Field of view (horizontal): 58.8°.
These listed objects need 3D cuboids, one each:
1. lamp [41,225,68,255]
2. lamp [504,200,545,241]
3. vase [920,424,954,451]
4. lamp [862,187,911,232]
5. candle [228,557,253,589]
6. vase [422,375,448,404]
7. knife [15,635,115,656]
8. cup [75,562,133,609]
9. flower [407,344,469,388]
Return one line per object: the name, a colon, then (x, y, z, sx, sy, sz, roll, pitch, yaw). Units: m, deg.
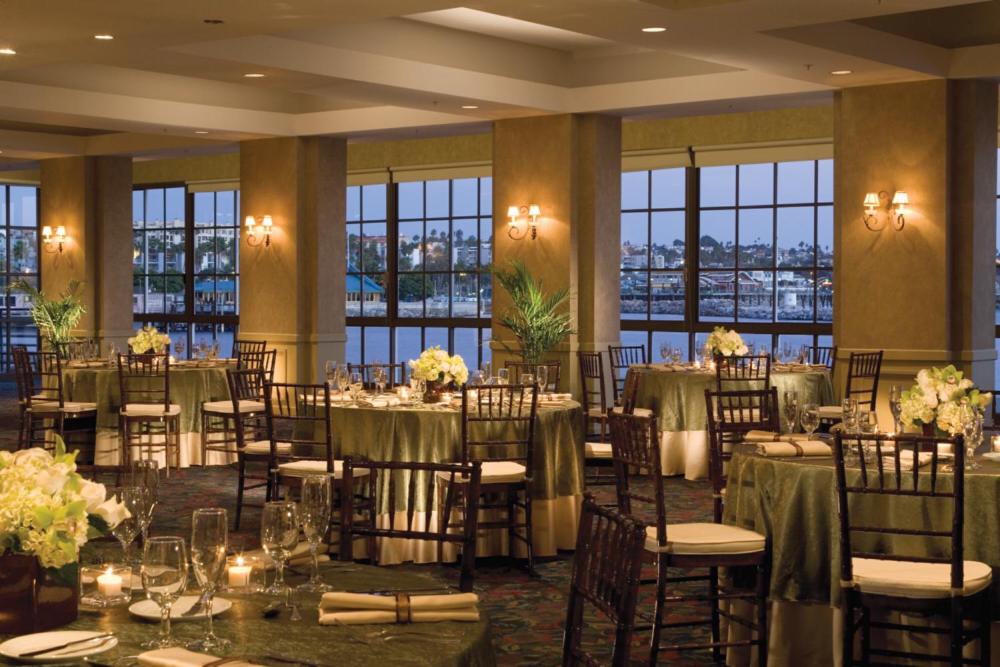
lamp: (-7.513, -1.568, 14.924, 0.677, 0.548, 0.158, -2, 1, 34)
lamp: (0.330, -1.464, 11.453, 0.492, 0.481, 0.262, -3, -10, 26)
vase: (2.078, 0.499, 4.222, 0.109, 0.177, 0.111, -6, -8, -45)
lamp: (4.254, -1.365, 9.720, 0.478, 0.472, 0.250, -2, -6, 34)
candle: (-0.838, 0.781, 2.901, 0.088, 0.099, 0.089, -5, -9, 43)
vase: (-0.469, 0.407, 6.360, 0.184, 0.184, 0.180, 6, -9, -42)
knife: (-1.162, 0.834, 2.357, 0.158, 0.012, 0.017, -8, 38, -40)
cup: (-1.237, 0.798, 2.784, 0.133, 0.117, 0.135, 0, 3, 0)
flower: (-0.410, 0.239, 6.452, 0.294, 0.224, 0.330, 1, -3, 41)
